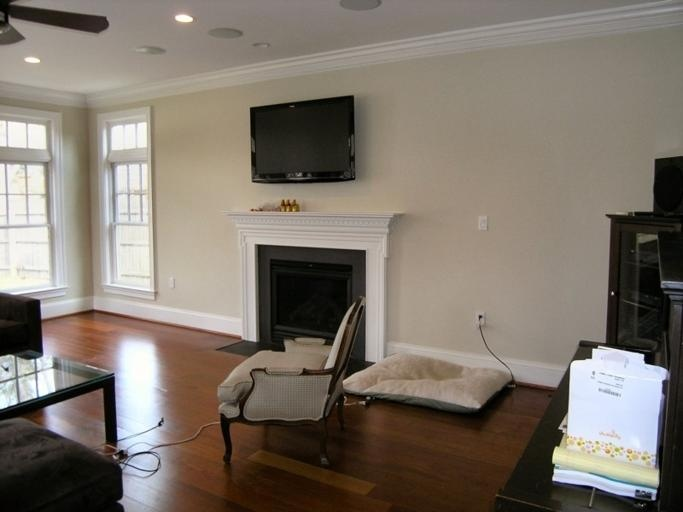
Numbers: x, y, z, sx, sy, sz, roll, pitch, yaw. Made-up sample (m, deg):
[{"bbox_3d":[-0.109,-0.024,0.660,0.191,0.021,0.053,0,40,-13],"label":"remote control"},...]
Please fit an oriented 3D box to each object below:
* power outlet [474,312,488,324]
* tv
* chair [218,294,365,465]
[{"bbox_3d":[1.250,0.553,4.750,0.098,0.139,0.023,6,11,34],"label":"power outlet"},{"bbox_3d":[-0.358,-1.190,5.368,0.931,0.647,0.099,3,10,29],"label":"tv"},{"bbox_3d":[-0.317,0.785,3.761,0.954,1.118,0.789,0,5,10],"label":"chair"}]
